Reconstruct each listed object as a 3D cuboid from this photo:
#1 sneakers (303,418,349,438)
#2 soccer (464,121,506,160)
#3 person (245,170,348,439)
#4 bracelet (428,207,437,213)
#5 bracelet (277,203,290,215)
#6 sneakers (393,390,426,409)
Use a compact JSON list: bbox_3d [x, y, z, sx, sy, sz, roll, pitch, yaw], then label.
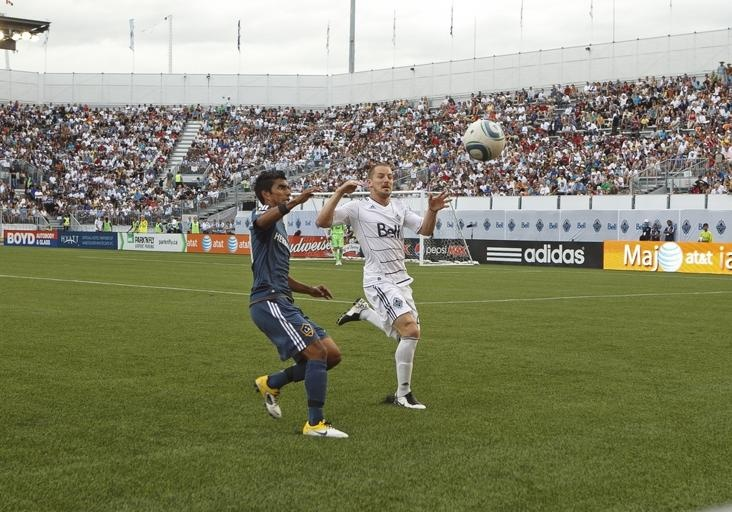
[{"bbox_3d":[-0.362,1.587,6.735,0.422,0.179,0.158,1,-6,3],"label":"sneakers"},{"bbox_3d":[1.969,-1.887,12.277,0.644,0.694,0.664,-18,-17,5],"label":"soccer"},{"bbox_3d":[-0.691,0.396,7.130,0.856,2.506,1.220,0,3,-17],"label":"person"},{"bbox_3d":[0.718,-0.503,7.889,0.066,0.068,0.061,3,10,27],"label":"bracelet"},{"bbox_3d":[-0.756,-0.453,6.827,0.082,0.115,0.111,-7,-2,40],"label":"bracelet"},{"bbox_3d":[0.456,1.504,7.615,0.381,0.166,0.138,-2,-2,36],"label":"sneakers"}]
